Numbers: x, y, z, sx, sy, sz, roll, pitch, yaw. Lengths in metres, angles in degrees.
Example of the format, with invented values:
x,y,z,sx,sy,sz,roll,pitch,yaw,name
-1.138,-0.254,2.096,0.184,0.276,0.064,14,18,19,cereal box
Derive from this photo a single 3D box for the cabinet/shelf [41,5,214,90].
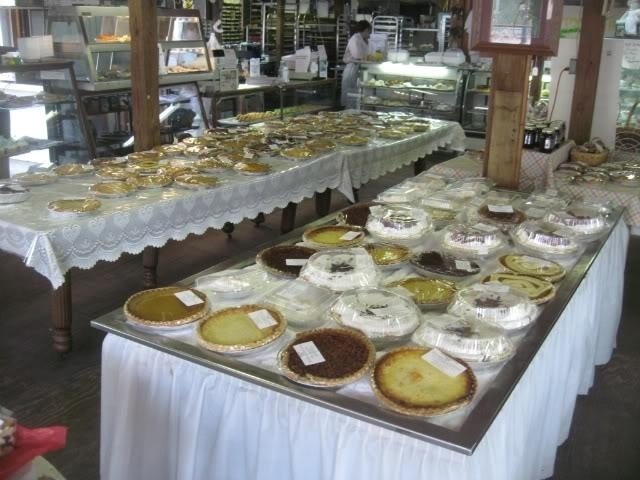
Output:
x,y,z,sx,sy,sz,roll,pitch,yaw,name
-1.834,-2.019,5.242,1.573,0.852,0.691,-18,29,-39,cabinet/shelf

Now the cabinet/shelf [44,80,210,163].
x,y,z,sx,sy,sz,roll,pitch,yaw,name
-1.921,-1.147,4.812,1.391,1.017,0.420,-25,46,-39,cabinet/shelf
